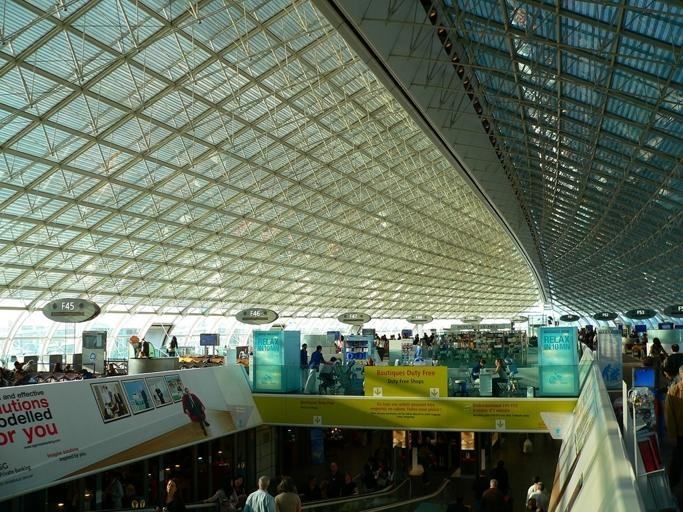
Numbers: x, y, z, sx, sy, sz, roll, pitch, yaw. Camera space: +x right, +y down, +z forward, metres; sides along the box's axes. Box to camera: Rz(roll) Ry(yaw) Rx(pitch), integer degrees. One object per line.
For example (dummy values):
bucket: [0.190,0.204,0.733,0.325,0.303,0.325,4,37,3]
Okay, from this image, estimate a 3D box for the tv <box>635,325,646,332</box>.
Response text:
tv: [30.267,7.296,51.297,1.069,0.666,0.567,-2,-11,20]

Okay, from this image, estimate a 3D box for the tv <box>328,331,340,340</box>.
tv: [-0.477,5.792,37.196,0.695,0.467,0.740,-2,-6,22]

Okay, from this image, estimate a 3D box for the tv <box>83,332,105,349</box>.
tv: [-13.054,4.435,26.901,1.188,0.933,0.597,-8,-7,13]

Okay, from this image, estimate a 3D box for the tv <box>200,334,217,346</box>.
tv: [-9.142,5.794,35.346,1.595,0.783,1.022,1,-10,2]
